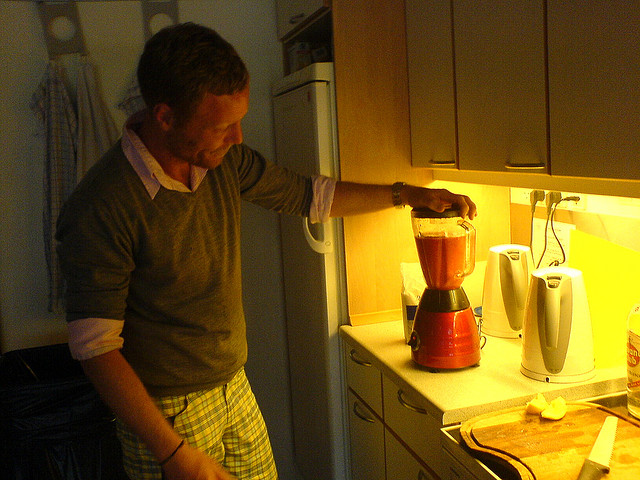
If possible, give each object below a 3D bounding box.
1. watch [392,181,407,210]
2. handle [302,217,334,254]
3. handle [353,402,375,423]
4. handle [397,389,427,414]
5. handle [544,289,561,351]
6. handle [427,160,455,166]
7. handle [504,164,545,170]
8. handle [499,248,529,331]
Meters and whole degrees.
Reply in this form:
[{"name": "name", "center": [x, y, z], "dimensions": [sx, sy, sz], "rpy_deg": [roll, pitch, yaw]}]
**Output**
[{"name": "watch", "center": [0.291, -0.168, 2.146], "dimensions": [0.058, 0.097, 0.086], "rpy_deg": [1, 11, 8]}, {"name": "handle", "center": [-0.004, -0.056, 2.344], "dimensions": [0.116, 0.292, 0.049], "rpy_deg": [-2, 46, 1]}, {"name": "handle", "center": [0.180, 0.689, 2.273], "dimensions": [0.113, 0.027, 0.113], "rpy_deg": [1, 12, -15]}, {"name": "handle", "center": [0.306, 0.532, 1.873], "dimensions": [0.102, 0.023, 0.104], "rpy_deg": [0, 8, -1]}, {"name": "handle", "center": [0.717, 0.248, 1.747], "dimensions": [0.048, 0.198, 0.024], "rpy_deg": [-2, 5, 23]}, {"name": "handle", "center": [0.460, -0.296, 2.164], "dimensions": [0.028, 0.029, 0.178], "rpy_deg": [-5, 6, -12]}, {"name": "handle", "center": [0.637, -0.228, 1.753], "dimensions": [0.010, 0.015, 0.095], "rpy_deg": [12, -1, -40]}, {"name": "handle", "center": [0.724, 0.188, 2.110], "dimensions": [0.104, 0.311, 0.071], "rpy_deg": [-6, 5, -27]}]
